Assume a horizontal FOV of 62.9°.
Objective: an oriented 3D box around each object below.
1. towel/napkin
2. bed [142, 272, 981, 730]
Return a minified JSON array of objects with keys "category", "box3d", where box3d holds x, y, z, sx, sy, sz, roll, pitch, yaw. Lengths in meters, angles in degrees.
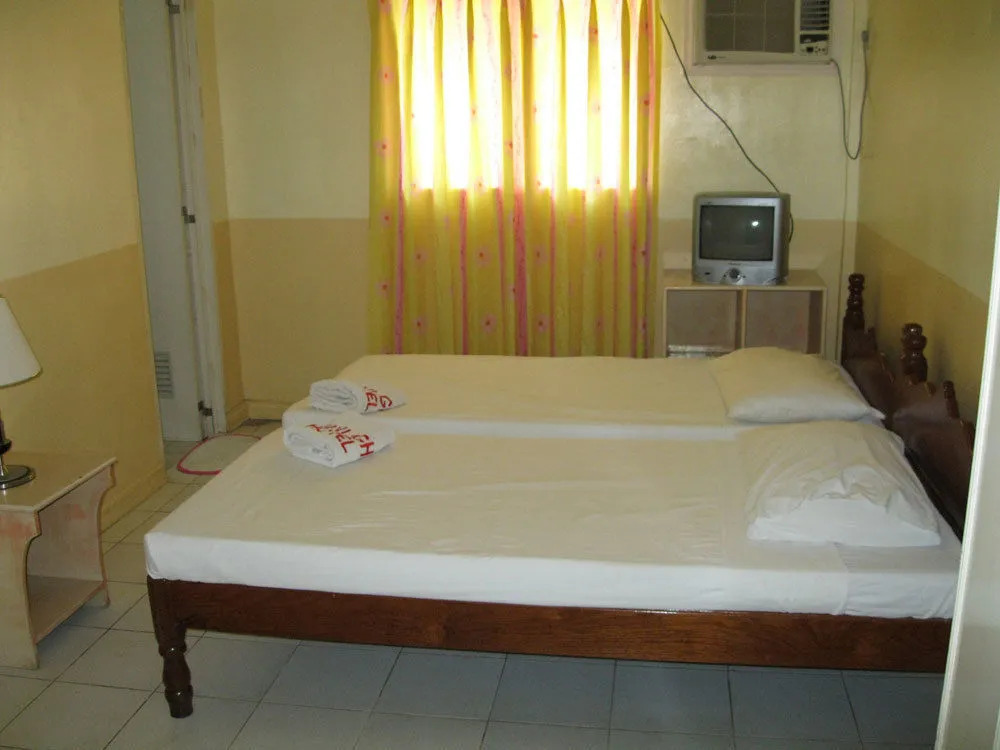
[{"category":"towel/napkin","box3d":[-0.668,0.202,3.429,0.395,0.149,0.404,12,22,28]},{"category":"bed","box3d":[0.254,0.485,2.915,2.063,0.762,1.534,4,24,9]}]
